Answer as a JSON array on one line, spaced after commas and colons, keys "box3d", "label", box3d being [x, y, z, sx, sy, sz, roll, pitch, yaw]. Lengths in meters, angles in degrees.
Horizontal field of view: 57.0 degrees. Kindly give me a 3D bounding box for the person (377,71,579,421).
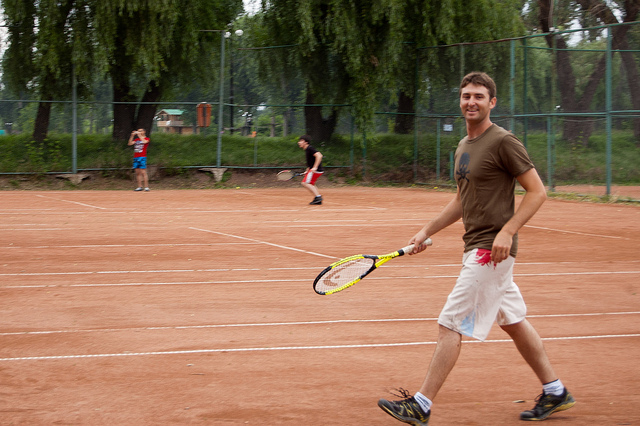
[{"box3d": [1.504, 0.239, 5.304, 1.461, 2.946, 1.609, 1, 2, 15], "label": "person"}]
